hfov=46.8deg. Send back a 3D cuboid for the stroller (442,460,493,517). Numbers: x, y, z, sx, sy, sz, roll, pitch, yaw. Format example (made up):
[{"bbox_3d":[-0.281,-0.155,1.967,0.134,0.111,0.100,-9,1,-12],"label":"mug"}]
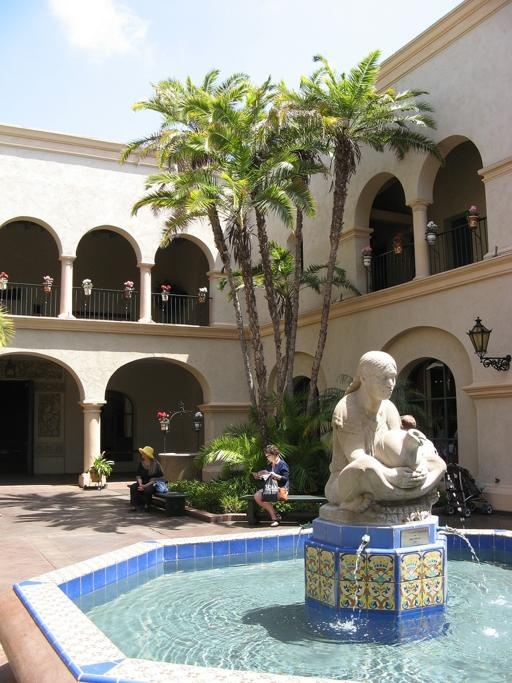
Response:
[{"bbox_3d":[3.529,2.483,9.877,0.721,0.780,0.605,6,-13,-33],"label":"stroller"}]

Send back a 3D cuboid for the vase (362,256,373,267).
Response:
[{"bbox_3d":[2.640,-1.891,13.935,0.223,0.249,0.219,-1,-1,-11],"label":"vase"}]

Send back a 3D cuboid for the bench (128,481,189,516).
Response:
[{"bbox_3d":[-1.837,2.878,10.814,0.693,0.512,1.533,5,-12,-35],"label":"bench"}]

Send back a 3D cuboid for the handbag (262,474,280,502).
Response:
[{"bbox_3d":[0.215,2.246,8.995,0.262,0.400,0.227,-4,-10,11],"label":"handbag"}]

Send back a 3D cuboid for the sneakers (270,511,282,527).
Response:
[{"bbox_3d":[0.312,2.806,9.286,0.136,0.170,0.434,-5,-15,11],"label":"sneakers"}]

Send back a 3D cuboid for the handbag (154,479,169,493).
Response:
[{"bbox_3d":[-1.672,2.642,10.798,0.301,0.280,0.194,4,-13,-25],"label":"handbag"}]

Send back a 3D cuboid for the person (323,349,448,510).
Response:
[{"bbox_3d":[0.875,0.647,4.210,0.922,1.097,0.756,2,-4,-32],"label":"person"}]
